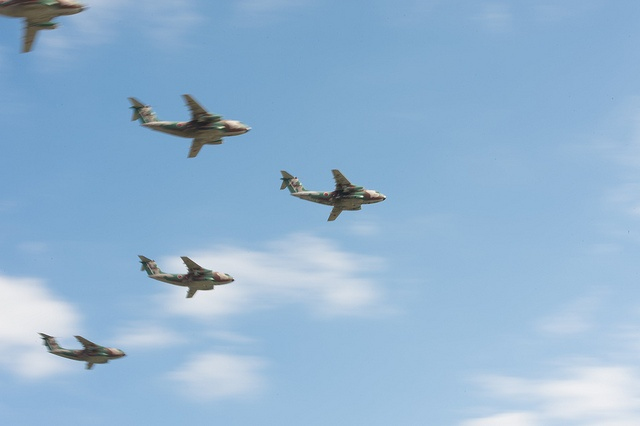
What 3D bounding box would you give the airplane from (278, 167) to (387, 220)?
[{"bbox_3d":[4.134,-3.655,216.194,18.336,4.147,9.553,-1,-44,-6],"label":"airplane"}]
